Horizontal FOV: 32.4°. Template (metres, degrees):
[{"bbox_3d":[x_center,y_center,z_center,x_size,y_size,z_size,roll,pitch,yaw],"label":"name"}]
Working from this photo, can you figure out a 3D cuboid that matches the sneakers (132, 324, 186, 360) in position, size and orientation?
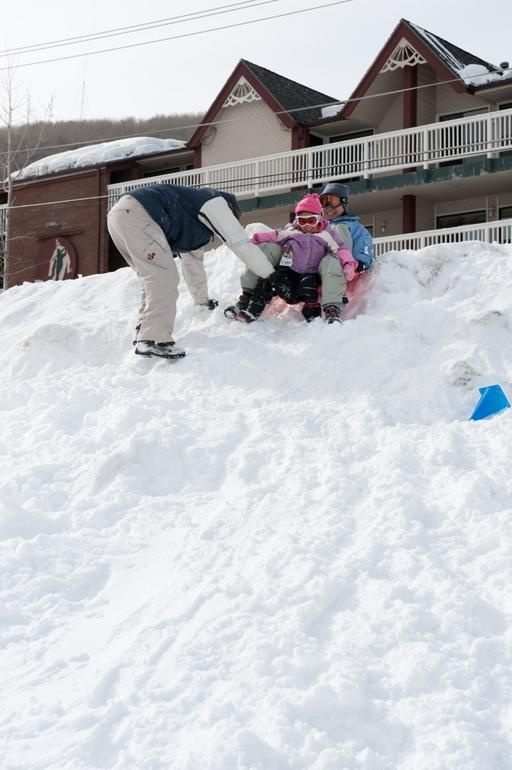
[{"bbox_3d":[-0.622,-0.275,5.668,0.392,0.264,0.146,2,11,8],"label":"sneakers"}]

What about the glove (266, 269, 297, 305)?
[{"bbox_3d":[0.136,-0.676,5.979,0.120,0.247,0.192,8,38,41],"label":"glove"}]

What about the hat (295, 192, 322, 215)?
[{"bbox_3d":[0.368,-1.291,6.195,0.140,0.153,0.203,1,20,11],"label":"hat"}]

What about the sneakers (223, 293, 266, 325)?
[{"bbox_3d":[-0.073,-0.527,6.065,0.248,0.082,0.235,13,45,38],"label":"sneakers"}]

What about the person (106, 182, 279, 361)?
[{"bbox_3d":[-0.628,-0.854,6.171,1.396,1.319,0.990,-4,14,-25],"label":"person"}]

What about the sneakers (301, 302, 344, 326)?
[{"bbox_3d":[0.433,-0.483,5.875,0.116,0.155,0.339,2,-2,-24],"label":"sneakers"}]

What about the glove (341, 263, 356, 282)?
[{"bbox_3d":[0.623,-0.777,5.995,0.096,0.111,0.044,-2,10,-38],"label":"glove"}]

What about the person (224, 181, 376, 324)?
[{"bbox_3d":[0.433,-1.016,6.273,0.877,0.910,1.158,11,20,33],"label":"person"}]

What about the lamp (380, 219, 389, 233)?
[{"bbox_3d":[2.480,-3.112,17.191,0.095,0.286,0.236,-1,1,-40],"label":"lamp"}]

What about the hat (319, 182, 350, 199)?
[{"bbox_3d":[0.619,-1.492,6.734,0.153,0.088,0.177,16,17,35],"label":"hat"}]
